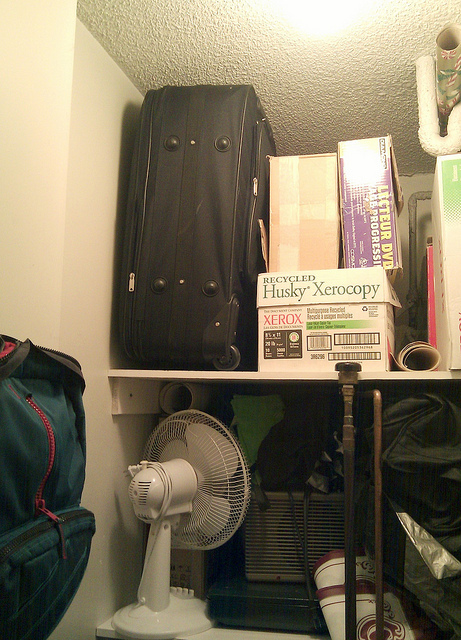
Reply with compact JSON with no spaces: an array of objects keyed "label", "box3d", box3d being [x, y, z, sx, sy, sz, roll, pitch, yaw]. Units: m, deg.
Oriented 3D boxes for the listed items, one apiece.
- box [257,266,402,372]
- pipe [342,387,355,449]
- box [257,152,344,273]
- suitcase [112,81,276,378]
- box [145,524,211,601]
[{"label":"box","box3d":[0.196,-0.002,1.166,0.275,0.219,0.097,-1,-4,1]},{"label":"pipe","box3d":[0.229,0.198,1.062,0.024,0.138,0.024,-2,-12,19]},{"label":"box","box3d":[0.166,-0.257,1.302,0.155,0.315,0.201,-1,8,2]},{"label":"suitcase","box3d":[-0.073,-0.148,1.444,0.301,0.794,0.473,-1,-26,7]},{"label":"box","box3d":[-0.127,0.589,1.354,0.134,0.194,0.139,1,6,9]}]
